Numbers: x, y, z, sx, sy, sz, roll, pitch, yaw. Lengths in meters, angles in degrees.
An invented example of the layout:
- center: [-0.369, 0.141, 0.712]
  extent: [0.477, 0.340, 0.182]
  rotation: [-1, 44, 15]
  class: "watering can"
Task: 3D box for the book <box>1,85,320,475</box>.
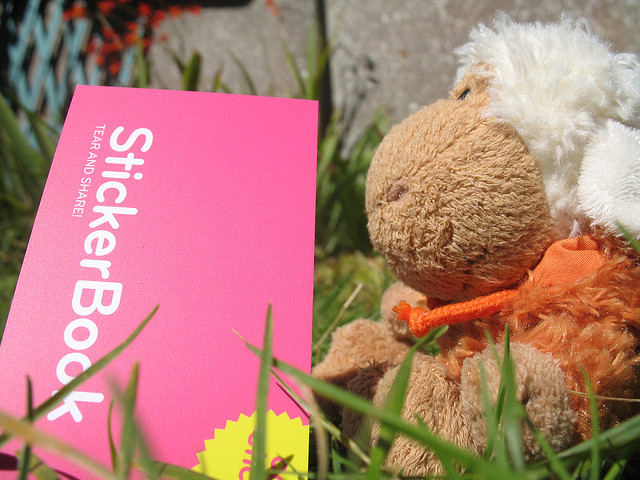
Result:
- center: [-0.257, 0.042, 1.211]
  extent: [0.519, 0.148, 0.668]
  rotation: [11, 69, -9]
  class: "book"
